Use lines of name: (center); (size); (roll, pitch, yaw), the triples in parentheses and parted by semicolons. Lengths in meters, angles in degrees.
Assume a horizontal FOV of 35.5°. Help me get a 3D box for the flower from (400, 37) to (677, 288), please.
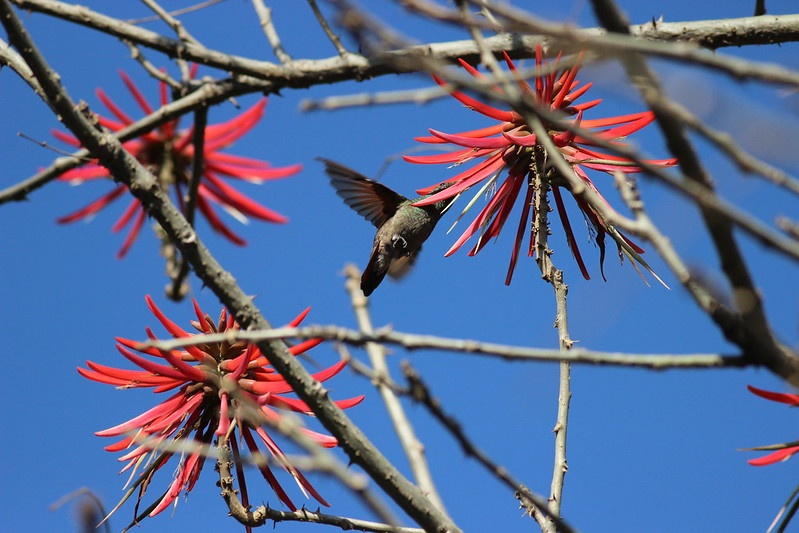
flower: (0.319, -0.207, 2.772); (0.625, 0.643, 0.467); (4, -94, -42)

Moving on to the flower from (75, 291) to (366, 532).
flower: (-0.391, 0.300, 2.604); (0.571, 0.439, 0.449); (18, -64, -12)

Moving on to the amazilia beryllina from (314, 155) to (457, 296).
amazilia beryllina: (-0.052, -0.142, 3.426); (0.337, 0.182, 0.418); (-28, -27, 9)
